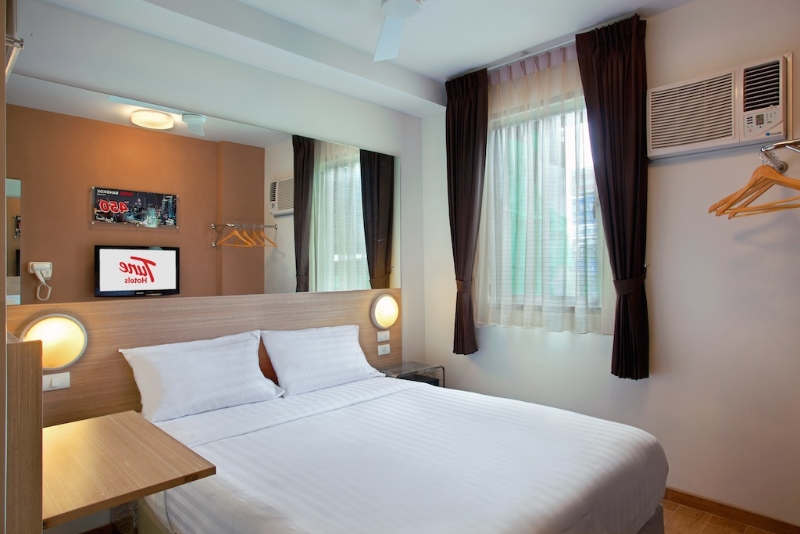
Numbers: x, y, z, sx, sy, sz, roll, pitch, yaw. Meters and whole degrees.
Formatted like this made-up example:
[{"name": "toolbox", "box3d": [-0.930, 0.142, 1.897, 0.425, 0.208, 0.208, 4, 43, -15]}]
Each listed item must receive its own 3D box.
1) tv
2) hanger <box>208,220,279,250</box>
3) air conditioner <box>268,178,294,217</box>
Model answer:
[{"name": "tv", "box3d": [-1.858, 0.029, 3.564, 0.379, 0.271, 0.027, -1, 3, -37]}, {"name": "hanger", "box3d": [-1.211, -0.244, 3.992, 0.509, 0.178, 0.155, -3, 5, -45]}, {"name": "air conditioner", "box3d": [-0.987, -0.586, 4.226, 0.099, 0.269, 0.274, 8, 15, 19]}]
